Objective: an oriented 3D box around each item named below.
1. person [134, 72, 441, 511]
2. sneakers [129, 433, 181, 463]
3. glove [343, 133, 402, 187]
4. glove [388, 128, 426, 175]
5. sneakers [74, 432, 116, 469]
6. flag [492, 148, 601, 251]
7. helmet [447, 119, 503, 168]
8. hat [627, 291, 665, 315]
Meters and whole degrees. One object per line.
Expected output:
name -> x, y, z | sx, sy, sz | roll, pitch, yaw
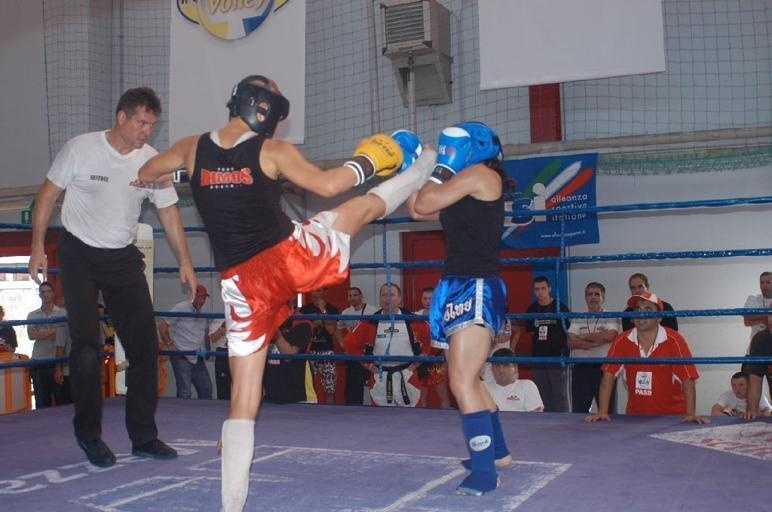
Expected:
person -> -0.661, 0.343, 5.386 | 1.547, 2.205, 0.881 | -4, 14, -7
sneakers -> -1.619, 1.377, 6.091 | 0.346, 0.149, 0.129 | 1, -6, 12
glove -> -0.080, -0.598, 5.394 | 0.365, 0.270, 0.147 | -13, 40, 8
glove -> 0.121, -0.674, 5.565 | 0.174, 0.284, 0.112 | 33, 24, 18
sneakers -> -2.012, 1.385, 6.026 | 0.341, 0.146, 0.132 | 26, 20, 23
flag -> 1.596, -0.543, 8.348 | 1.074, 1.049, 0.115 | -1, -6, 6
helmet -> 0.599, -0.730, 5.816 | 0.324, 0.319, 0.263 | 21, 6, 1
hat -> 2.199, 0.370, 7.204 | 0.285, 0.148, 0.175 | 33, -19, -17
